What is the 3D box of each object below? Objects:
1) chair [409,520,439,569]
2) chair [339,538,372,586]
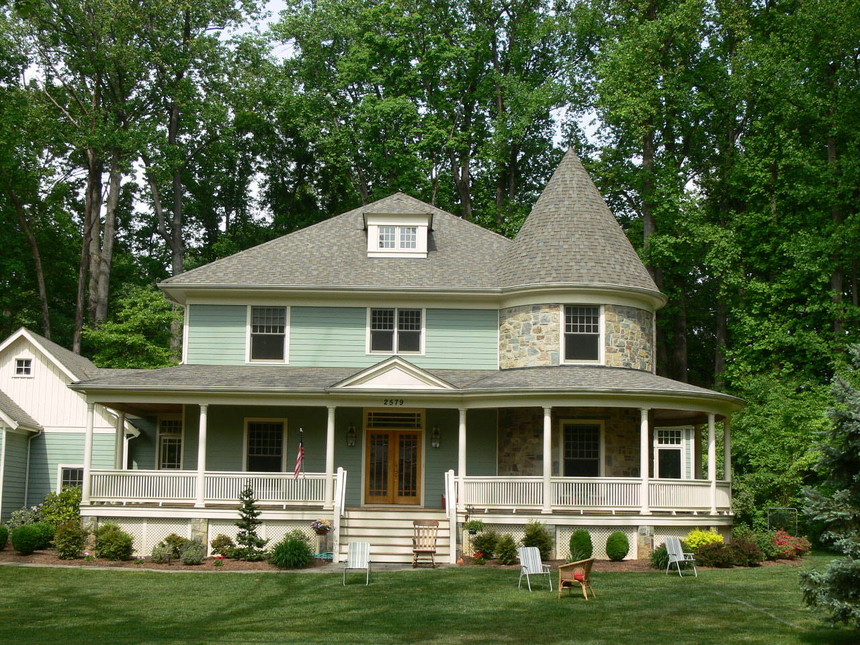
[{"bbox_3d":[-0.159,6.934,36.547,0.774,1.571,1.636,0,5,-1],"label":"chair"},{"bbox_3d":[-2.129,7.070,33.788,1.104,1.414,1.146,0,-16,-1],"label":"chair"}]
